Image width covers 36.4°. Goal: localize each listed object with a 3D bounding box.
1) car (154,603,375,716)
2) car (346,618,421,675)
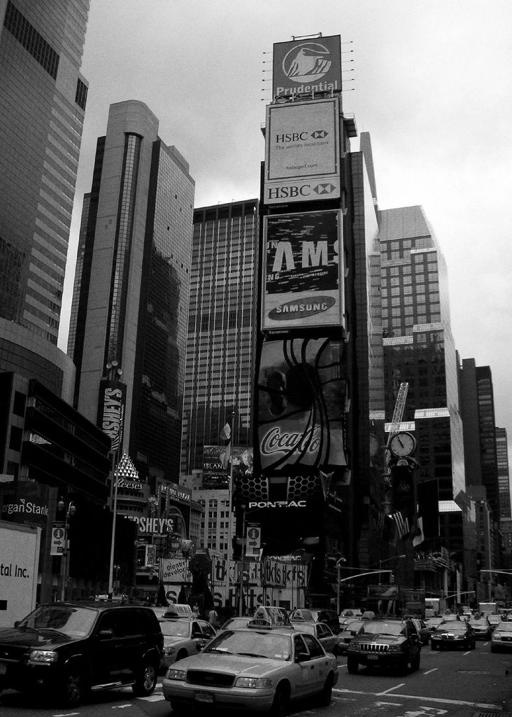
[{"bbox_3d":[0.109,4.940,12.556,1.309,1.058,2.929,-7,-29,19],"label":"car"},{"bbox_3d":[3.760,8.312,22.401,1.111,1.179,2.523,-6,-34,15],"label":"car"}]
